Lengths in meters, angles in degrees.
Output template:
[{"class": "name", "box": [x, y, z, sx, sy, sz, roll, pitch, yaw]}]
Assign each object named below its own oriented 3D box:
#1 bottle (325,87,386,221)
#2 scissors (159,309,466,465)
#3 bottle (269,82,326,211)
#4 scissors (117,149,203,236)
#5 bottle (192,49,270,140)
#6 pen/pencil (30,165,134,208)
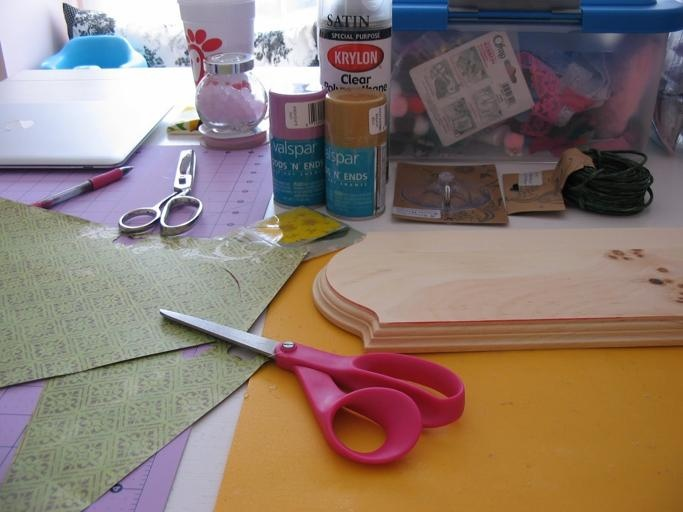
[{"class": "bottle", "box": [0.018, -0.129, 0.730, 0.083, 0.163, 0.045, -1, 30, 7]}, {"class": "scissors", "box": [0.006, 0.115, 0.509, 0.186, 0.031, 0.093, 19, 34, 32]}, {"class": "bottle", "box": [-0.059, -0.144, 0.754, 0.085, 0.162, 0.040, -5, 29, -2]}, {"class": "scissors", "box": [-0.243, -0.097, 0.788, 0.084, 0.017, 0.155, 3, 28, 4]}, {"class": "bottle", "box": [-0.177, -0.270, 0.974, 0.153, 0.139, 0.144, -7, 36, -9]}, {"class": "pen/pencil", "box": [-0.391, -0.101, 0.825, 0.156, 0.017, 0.013, -27, 55, -31]}]
